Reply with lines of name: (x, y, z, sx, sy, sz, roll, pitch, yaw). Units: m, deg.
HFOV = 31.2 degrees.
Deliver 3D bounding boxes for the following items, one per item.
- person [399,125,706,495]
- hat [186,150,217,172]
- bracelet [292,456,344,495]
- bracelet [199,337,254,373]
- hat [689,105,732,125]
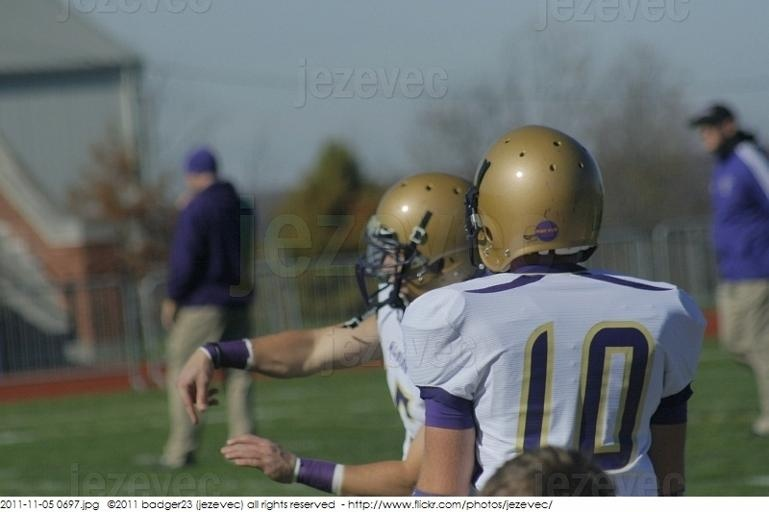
person: (0.666, 0.248, 5.913, 1.125, 2.782, 0.890, -4, 26, -3)
hat: (-0.866, -0.445, 6.589, 0.126, 0.125, 0.100, -12, 32, 5)
bracelet: (-0.302, 0.985, 6.172, 0.170, 0.165, 0.234, 10, -8, -2)
bracelet: (-0.725, 0.471, 6.535, 0.170, 0.083, 0.146, 1, 47, 14)
hat: (1.566, -0.659, 6.597, 0.146, 0.079, 0.117, -7, 2, -1)
